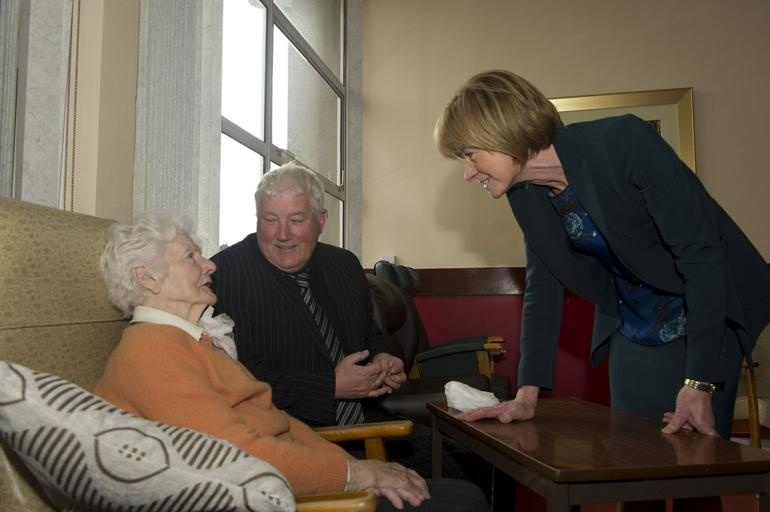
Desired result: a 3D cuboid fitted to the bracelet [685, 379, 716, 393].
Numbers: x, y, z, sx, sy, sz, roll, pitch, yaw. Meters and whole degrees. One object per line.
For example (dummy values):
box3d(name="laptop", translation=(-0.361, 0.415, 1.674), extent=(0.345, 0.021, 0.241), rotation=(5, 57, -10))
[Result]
box3d(name="bracelet", translation=(0.944, 0.388, 1.963), extent=(0.085, 0.049, 0.027), rotation=(-4, 5, 21))

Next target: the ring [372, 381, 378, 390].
box3d(name="ring", translation=(-0.040, 0.497, 2.523), extent=(0.022, 0.024, 0.023), rotation=(12, -1, 0))
